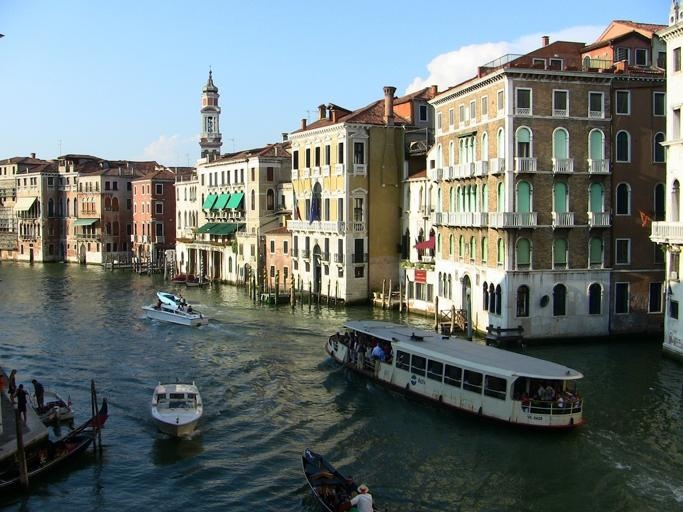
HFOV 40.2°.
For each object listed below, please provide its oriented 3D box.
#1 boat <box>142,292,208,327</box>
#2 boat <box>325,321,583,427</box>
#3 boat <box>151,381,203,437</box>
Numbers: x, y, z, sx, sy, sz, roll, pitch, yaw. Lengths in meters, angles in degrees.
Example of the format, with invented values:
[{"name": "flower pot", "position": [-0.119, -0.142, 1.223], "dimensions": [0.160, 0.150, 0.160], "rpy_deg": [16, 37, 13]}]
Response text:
[{"name": "boat", "position": [-14.581, 5.126, 81.209], "dimensions": [2.430, 2.615, 8.173], "rpy_deg": [-15, 10, -31]}, {"name": "boat", "position": [5.518, 7.248, 58.320], "dimensions": [5.240, 4.151, 19.134], "rpy_deg": [-6, 7, -37]}, {"name": "boat", "position": [-9.711, 8.847, 55.119], "dimensions": [2.985, 1.814, 8.183], "rpy_deg": [1, 8, -12]}]
